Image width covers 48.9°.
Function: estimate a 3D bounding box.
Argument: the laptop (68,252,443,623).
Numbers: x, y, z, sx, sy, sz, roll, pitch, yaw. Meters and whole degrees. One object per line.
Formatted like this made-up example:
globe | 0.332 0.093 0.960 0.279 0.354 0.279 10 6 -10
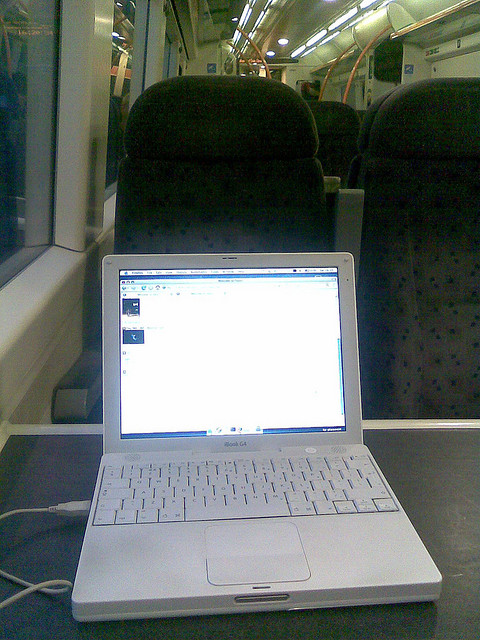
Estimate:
laptop | 0.010 0.071 0.582 0.307 0.265 0.413 0 8 -1
